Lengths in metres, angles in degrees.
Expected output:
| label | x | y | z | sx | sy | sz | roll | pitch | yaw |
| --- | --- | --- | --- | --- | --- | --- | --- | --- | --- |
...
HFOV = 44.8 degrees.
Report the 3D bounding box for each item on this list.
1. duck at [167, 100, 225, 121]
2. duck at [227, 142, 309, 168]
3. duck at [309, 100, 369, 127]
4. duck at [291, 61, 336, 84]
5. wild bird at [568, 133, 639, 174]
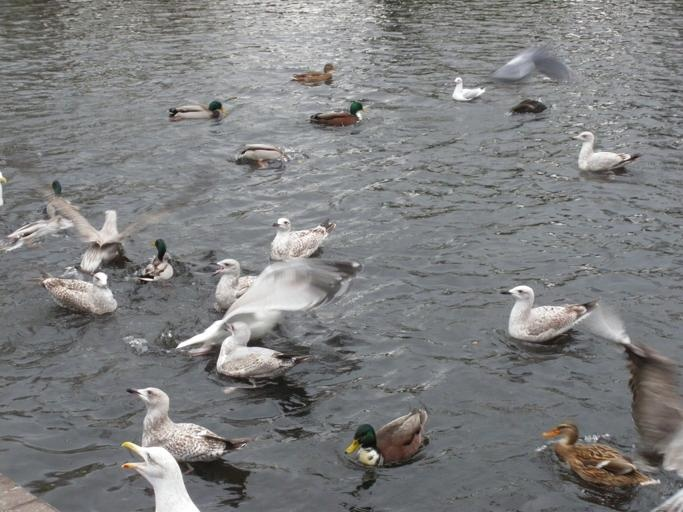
| label | x | y | z | sx | sy | sz | roll | pitch | yaw |
| --- | --- | --- | --- | --- | --- | --- | --- | --- | --- |
| duck | -4.848 | -4.871 | 27.979 | 2.263 | 0.868 | 0.545 | -1 | 54 | -10 |
| duck | -2.231 | -3.130 | 24.932 | 1.927 | 0.600 | 1.306 | -14 | 30 | -27 |
| duck | -0.170 | -4.673 | 27.269 | 2.282 | 0.614 | 0.782 | -7 | 24 | -8 |
| duck | -0.989 | -6.912 | 31.403 | 1.343 | 0.562 | 1.493 | 9 | 27 | 17 |
| wild bird | 7.415 | -2.935 | 23.576 | 1.667 | 1.113 | 0.708 | 8 | 38 | 14 |
